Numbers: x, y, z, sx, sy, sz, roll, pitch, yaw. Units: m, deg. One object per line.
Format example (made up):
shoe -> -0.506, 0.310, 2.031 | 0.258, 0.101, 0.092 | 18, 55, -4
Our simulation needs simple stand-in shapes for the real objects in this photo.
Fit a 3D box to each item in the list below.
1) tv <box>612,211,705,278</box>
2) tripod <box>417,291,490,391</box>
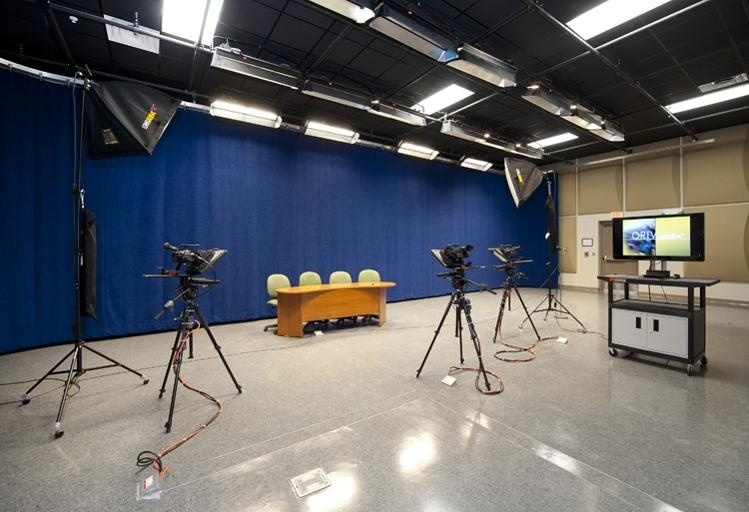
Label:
tv -> 4.525, -0.182, 6.846 | 1.493, 1.244, 0.405 | -3, -5, 38
tripod -> 1.272, 1.014, 6.308 | 1.011, 1.315, 1.990 | 0, 2, 15
